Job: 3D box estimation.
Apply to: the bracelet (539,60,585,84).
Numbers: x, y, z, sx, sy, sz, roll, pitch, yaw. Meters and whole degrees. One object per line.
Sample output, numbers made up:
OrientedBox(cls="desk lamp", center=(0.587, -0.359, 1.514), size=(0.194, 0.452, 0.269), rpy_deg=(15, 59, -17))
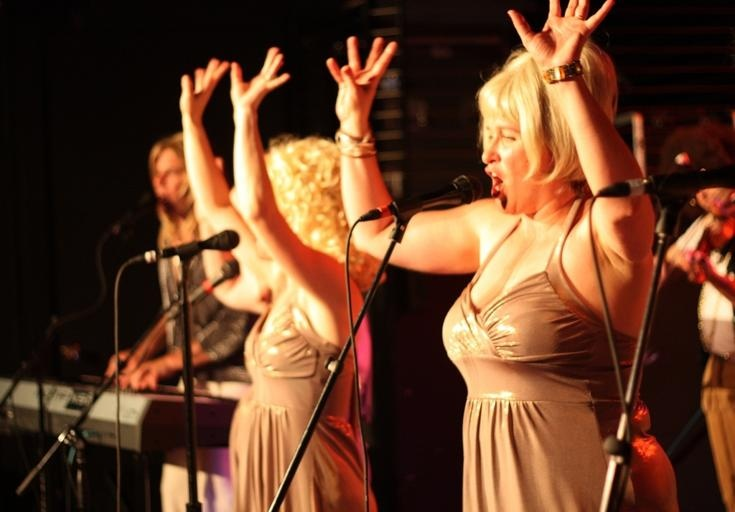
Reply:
OrientedBox(cls="bracelet", center=(0.623, -0.579, 2.706), size=(0.080, 0.033, 0.084), rpy_deg=(-14, -10, 2))

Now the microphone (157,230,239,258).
OrientedBox(cls="microphone", center=(-0.701, -0.050, 3.609), size=(0.271, 0.087, 0.086), rpy_deg=(-13, -23, 0))

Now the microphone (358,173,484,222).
OrientedBox(cls="microphone", center=(0.215, -0.223, 3.291), size=(0.523, 0.153, 0.148), rpy_deg=(-16, 11, -9))

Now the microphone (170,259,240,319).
OrientedBox(cls="microphone", center=(-0.698, 0.147, 3.756), size=(0.478, 0.097, 0.081), rpy_deg=(-33, -17, 33))
